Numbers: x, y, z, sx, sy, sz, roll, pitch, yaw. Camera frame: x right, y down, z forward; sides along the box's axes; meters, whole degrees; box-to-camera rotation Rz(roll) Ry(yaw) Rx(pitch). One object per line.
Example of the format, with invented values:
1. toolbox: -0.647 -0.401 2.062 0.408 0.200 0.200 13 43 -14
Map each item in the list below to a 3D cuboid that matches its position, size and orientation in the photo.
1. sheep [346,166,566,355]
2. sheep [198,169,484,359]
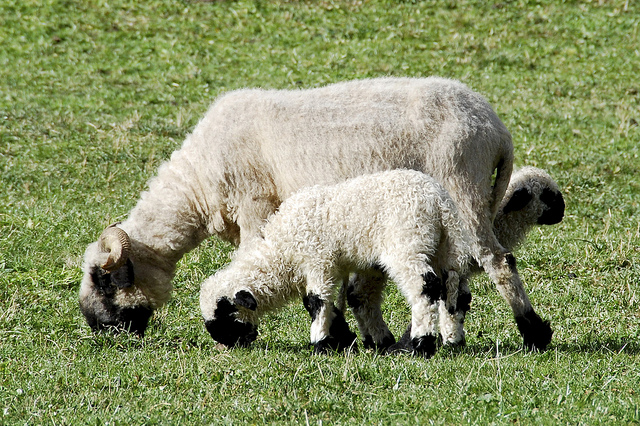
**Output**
1. sheep: 1.747 0.933 13.730 4.704 1.468 2.648 -13 52 24
2. sheep: 0.321 1.033 12.499 4.013 2.614 1.293 -13 -11 14
